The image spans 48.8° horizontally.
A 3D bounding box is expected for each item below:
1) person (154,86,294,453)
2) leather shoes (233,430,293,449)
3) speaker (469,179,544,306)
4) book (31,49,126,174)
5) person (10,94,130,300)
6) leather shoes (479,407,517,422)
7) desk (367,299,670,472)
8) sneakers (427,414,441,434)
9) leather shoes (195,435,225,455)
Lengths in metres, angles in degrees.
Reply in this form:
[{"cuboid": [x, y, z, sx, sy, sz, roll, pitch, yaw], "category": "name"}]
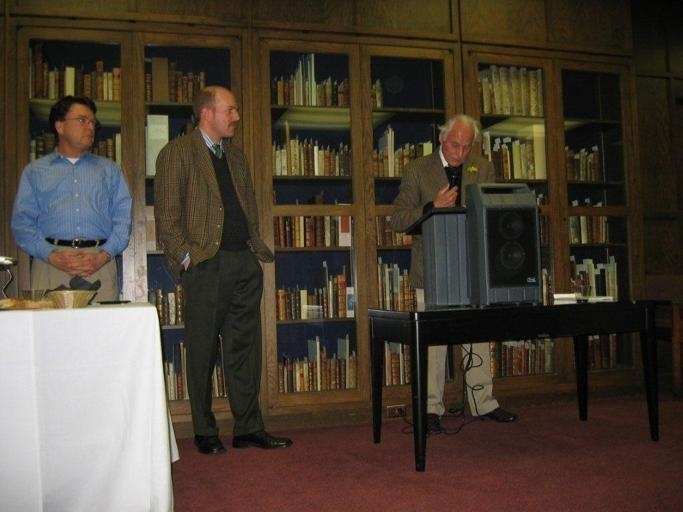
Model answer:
[{"cuboid": [-0.783, 0.067, 4.757, 0.719, 2.264, 0.607, -4, 8, -18], "category": "person"}, {"cuboid": [-0.501, 1.142, 4.807, 0.361, 0.177, 0.143, -1, -5, 1], "category": "leather shoes"}, {"cuboid": [0.939, -0.067, 4.279, 0.452, 0.694, 0.222, -4, 8, -19], "category": "speaker"}, {"cuboid": [-1.862, -1.185, 5.438, 0.701, 0.741, 0.175, 0, -3, -12], "category": "book"}, {"cuboid": [-1.652, -0.350, 4.598, 0.704, 1.248, 0.513, -4, 8, -19], "category": "person"}, {"cuboid": [1.070, 1.067, 5.110, 0.191, 0.086, 0.099, -7, -6, 19], "category": "leather shoes"}, {"cuboid": [1.056, 0.698, 4.547, 1.725, 0.948, 0.648, -3, 8, -9], "category": "desk"}, {"cuboid": [0.597, 1.108, 4.919, 0.103, 0.162, 0.161, 1, -31, 3], "category": "sneakers"}, {"cuboid": [-0.815, 1.169, 4.655, 0.083, 0.094, 0.206, 4, -7, -39], "category": "leather shoes"}]
